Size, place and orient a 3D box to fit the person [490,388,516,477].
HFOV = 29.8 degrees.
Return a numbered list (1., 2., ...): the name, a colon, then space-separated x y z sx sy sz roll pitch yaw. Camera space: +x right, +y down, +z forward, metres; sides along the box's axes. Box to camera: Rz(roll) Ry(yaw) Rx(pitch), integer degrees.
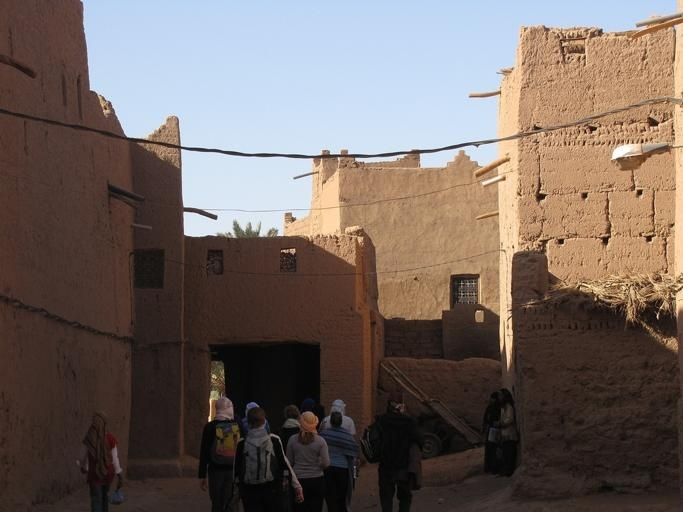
1. person: 2.236 2.719 19.776 0.350 1.319 0.906 0 -8 -3
